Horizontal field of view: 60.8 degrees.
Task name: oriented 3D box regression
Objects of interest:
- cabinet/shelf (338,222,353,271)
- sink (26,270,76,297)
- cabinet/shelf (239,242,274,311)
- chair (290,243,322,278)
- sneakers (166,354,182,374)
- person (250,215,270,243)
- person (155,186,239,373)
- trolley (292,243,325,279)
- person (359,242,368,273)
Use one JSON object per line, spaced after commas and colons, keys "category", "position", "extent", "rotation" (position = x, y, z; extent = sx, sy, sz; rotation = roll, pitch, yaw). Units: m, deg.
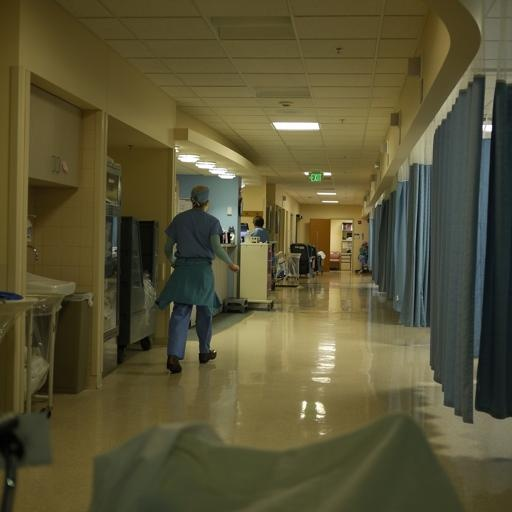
{"category": "cabinet/shelf", "position": [5.379, -0.662, 25.992], "extent": [0.751, 2.920, 0.852], "rotation": [0, 0, 13]}
{"category": "sink", "position": [-1.638, 0.230, 3.417], "extent": [0.373, 0.151, 0.546], "rotation": [0, 1, -19]}
{"category": "cabinet/shelf", "position": [-0.013, 0.397, 9.933], "extent": [0.804, 2.220, 2.059], "rotation": [0, 0, 1]}
{"category": "chair", "position": [2.000, 0.120, 17.728], "extent": [0.961, 1.652, 1.438], "rotation": [1, 4, 14]}
{"category": "sneakers", "position": [-0.836, 1.115, 4.460], "extent": [0.085, 0.234, 0.208], "rotation": [0, -2, 19]}
{"category": "person", "position": [0.082, -0.669, 10.554], "extent": [0.404, 0.651, 0.796], "rotation": [0, 1, -4]}
{"category": "person", "position": [-0.695, 0.205, 4.744], "extent": [0.748, 2.007, 0.502], "rotation": [0, 0, -17]}
{"category": "trolley", "position": [2.020, 0.163, 17.965], "extent": [1.092, 1.889, 1.558], "rotation": [1, 5, 18]}
{"category": "person", "position": [5.975, 0.028, 24.236], "extent": [0.456, 1.733, 1.757], "rotation": [0, 1, 15]}
